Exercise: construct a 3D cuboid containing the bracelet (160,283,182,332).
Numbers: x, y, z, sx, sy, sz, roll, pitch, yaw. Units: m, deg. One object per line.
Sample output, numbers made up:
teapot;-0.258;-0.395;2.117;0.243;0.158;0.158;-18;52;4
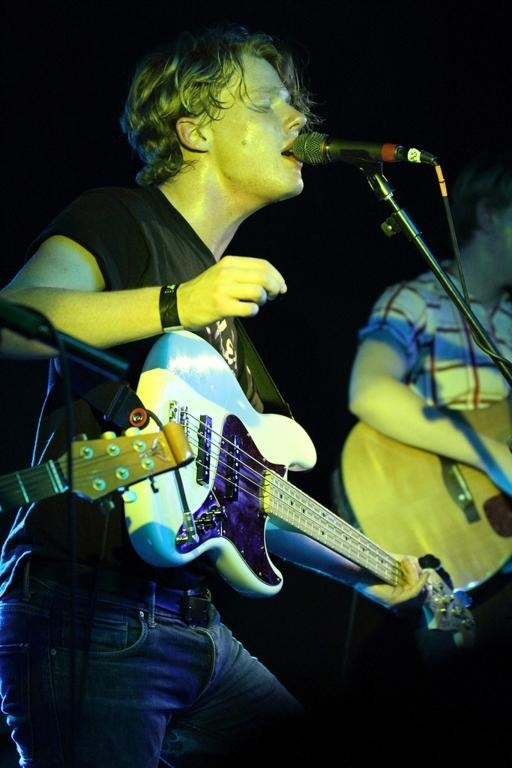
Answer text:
bracelet;-0.135;-0.117;1.115;0.023;0.058;0.045;-5;0;11
